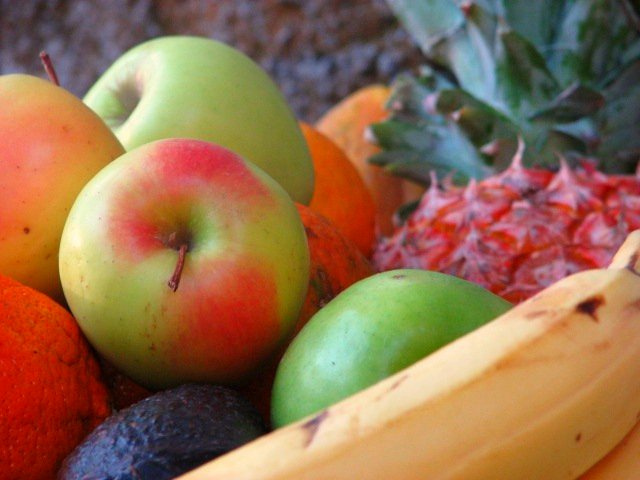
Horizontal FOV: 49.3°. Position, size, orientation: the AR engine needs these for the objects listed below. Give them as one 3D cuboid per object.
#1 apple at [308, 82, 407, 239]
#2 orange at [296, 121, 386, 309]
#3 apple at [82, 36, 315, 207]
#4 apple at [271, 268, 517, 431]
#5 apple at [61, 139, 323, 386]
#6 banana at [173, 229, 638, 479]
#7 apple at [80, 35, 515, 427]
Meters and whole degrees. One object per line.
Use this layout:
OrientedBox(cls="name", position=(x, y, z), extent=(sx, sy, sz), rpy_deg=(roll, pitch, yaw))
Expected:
OrientedBox(cls="apple", position=(0.037, -0.114, 1.181), extent=(0.144, 0.189, 0.264), rpy_deg=(-19, 86, 0))
OrientedBox(cls="orange", position=(0.012, -0.025, 0.943), extent=(0.134, 0.180, 0.232), rpy_deg=(4, 37, 0))
OrientedBox(cls="apple", position=(-0.151, -0.176, 0.832), extent=(0.205, 0.200, 0.214), rpy_deg=(-17, 95, -20))
OrientedBox(cls="apple", position=(0.055, 0.051, 0.704), extent=(0.189, 0.161, 0.201), rpy_deg=(-9, 13, -29))
OrientedBox(cls="apple", position=(-0.109, 0.021, 0.690), extent=(0.172, 0.174, 0.206), rpy_deg=(-16, 83, -40))
OrientedBox(cls="banana", position=(0.101, 0.135, 0.529), extent=(0.393, 0.147, 0.120), rpy_deg=(-8, 43, -27))
OrientedBox(cls="apple", position=(-0.014, -0.009, 0.738), extent=(0.224, 0.240, 0.456), rpy_deg=(-32, 87, 0))
